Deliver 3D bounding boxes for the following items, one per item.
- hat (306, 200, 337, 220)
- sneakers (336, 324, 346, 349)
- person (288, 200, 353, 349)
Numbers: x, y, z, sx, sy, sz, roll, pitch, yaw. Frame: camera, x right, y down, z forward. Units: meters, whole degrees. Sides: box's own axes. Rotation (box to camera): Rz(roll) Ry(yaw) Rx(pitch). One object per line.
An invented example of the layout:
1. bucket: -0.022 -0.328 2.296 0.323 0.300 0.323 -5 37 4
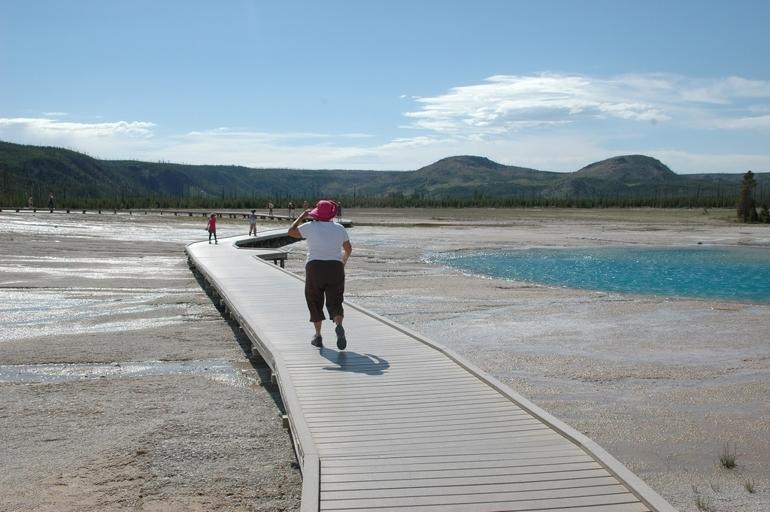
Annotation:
1. hat: -1.163 -0.784 10.449 0.466 0.158 0.392 14 46 45
2. sneakers: -0.802 1.472 10.651 0.229 0.422 0.206 -1 -7 -7
3. person: -1.135 0.341 10.841 1.023 2.801 1.186 3 13 -3
